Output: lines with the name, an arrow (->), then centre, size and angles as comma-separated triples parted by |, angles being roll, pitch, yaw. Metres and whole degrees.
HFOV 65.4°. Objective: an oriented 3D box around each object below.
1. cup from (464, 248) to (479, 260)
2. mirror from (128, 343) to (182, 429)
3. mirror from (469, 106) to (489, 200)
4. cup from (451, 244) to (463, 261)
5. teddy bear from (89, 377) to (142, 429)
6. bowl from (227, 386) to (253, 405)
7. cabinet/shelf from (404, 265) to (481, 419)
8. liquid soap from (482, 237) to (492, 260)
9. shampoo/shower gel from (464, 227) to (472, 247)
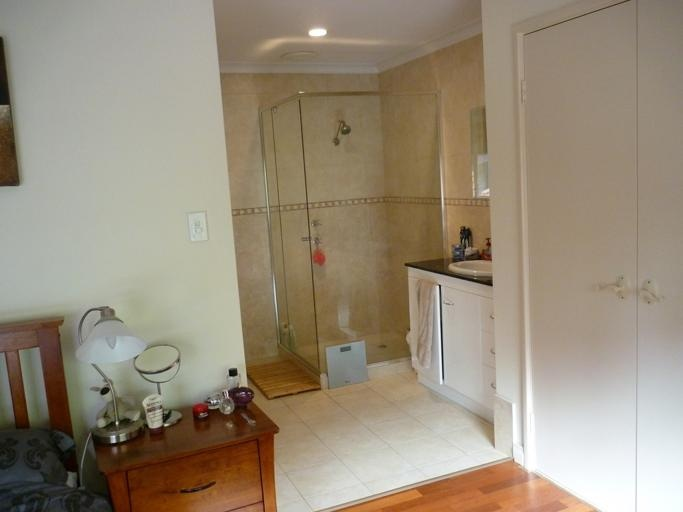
cup -> 1.079, -0.014, 4.368 | 0.138, 0.082, 0.070 | -9, 12, -21
mirror -> -0.963, 0.696, 2.821 | 0.232, 0.364, 0.226 | -5, 14, -26
mirror -> 1.117, -0.828, 4.278 | 0.075, 0.725, 0.282 | -5, 11, -6
cup -> 0.957, -0.021, 4.357 | 0.100, 0.118, 0.114 | 2, 2, 24
teddy bear -> -1.149, 0.731, 2.672 | 0.200, 0.223, 0.146 | -20, 0, -16
bowl -> -0.532, 0.758, 2.831 | 0.100, 0.071, 0.103 | 2, -8, 0
cabinet/shelf -> 0.952, 0.648, 4.185 | 0.448, 1.009, 1.119 | -7, 9, -23
liquid soap -> 1.167, -0.061, 4.307 | 0.037, 0.176, 0.129 | -7, 12, -14
shampoo/shower gel -> 1.083, -0.152, 4.494 | 0.061, 0.152, 0.049 | 1, 12, 25
